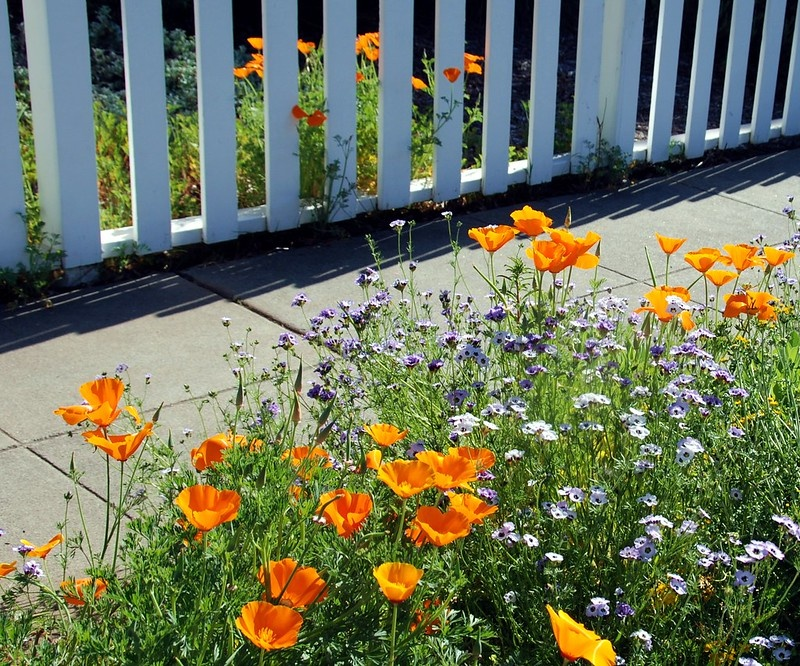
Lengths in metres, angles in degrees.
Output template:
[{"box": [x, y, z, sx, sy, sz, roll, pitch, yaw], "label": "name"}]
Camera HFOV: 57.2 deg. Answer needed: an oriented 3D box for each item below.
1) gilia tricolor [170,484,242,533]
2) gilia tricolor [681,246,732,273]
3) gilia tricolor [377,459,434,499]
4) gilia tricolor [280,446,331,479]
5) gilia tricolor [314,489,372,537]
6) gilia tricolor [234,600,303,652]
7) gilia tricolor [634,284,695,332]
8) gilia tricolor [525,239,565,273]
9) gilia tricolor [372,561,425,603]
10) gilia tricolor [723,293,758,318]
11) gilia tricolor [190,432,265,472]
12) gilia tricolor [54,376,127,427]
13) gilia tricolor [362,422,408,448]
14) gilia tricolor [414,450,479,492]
[{"box": [-0.336, 0.295, 1.239, 0.092, 0.073, 0.094, 12, 1, 17], "label": "gilia tricolor"}, {"box": [0.896, -0.212, 2.162, 0.132, 0.112, 0.160, 1, 4, 9], "label": "gilia tricolor"}, {"box": [0.012, 0.250, 1.291, 0.066, 0.045, 0.073, 18, 22, 33], "label": "gilia tricolor"}, {"box": [-0.215, 0.282, 1.655, 0.100, 0.079, 0.121, 3, -3, 20], "label": "gilia tricolor"}, {"box": [-0.093, 0.320, 1.381, 0.086, 0.052, 0.084, 12, 4, 11], "label": "gilia tricolor"}, {"box": [-0.199, 0.438, 1.116, 0.077, 0.056, 0.078, 28, 35, 12], "label": "gilia tricolor"}, {"box": [0.712, -0.075, 1.978, 0.122, 0.090, 0.141, -8, -25, 34], "label": "gilia tricolor"}, {"box": [0.401, -0.194, 2.033, 0.084, 0.070, 0.084, -20, 44, -36], "label": "gilia tricolor"}, {"box": [-0.002, 0.390, 1.137, 0.061, 0.061, 0.072, 3, 7, 29], "label": "gilia tricolor"}, {"box": [0.975, -0.062, 2.110, 0.073, 0.046, 0.083, -22, 44, -21], "label": "gilia tricolor"}, {"box": [-0.393, 0.263, 1.700, 0.150, 0.086, 0.241, -2, 0, 1], "label": "gilia tricolor"}, {"box": [-0.619, 0.132, 1.531, 0.080, 0.077, 0.098, -19, 20, -20], "label": "gilia tricolor"}, {"box": [-0.030, 0.207, 1.529, 0.064, 0.055, 0.081, 5, -6, 0], "label": "gilia tricolor"}, {"box": [0.086, 0.255, 1.386, 0.078, 0.046, 0.079, 26, 25, 33], "label": "gilia tricolor"}]
